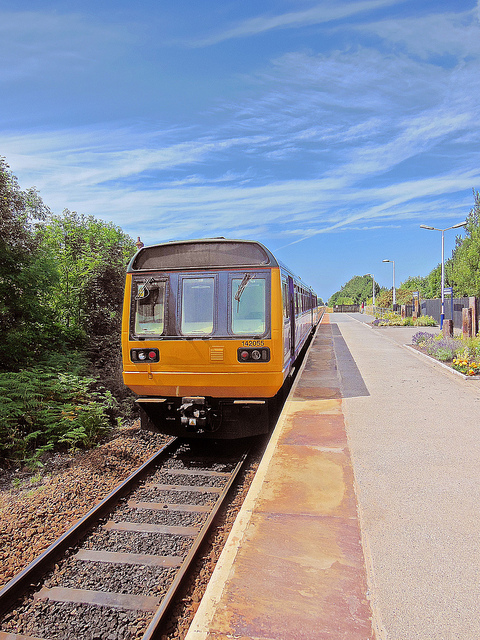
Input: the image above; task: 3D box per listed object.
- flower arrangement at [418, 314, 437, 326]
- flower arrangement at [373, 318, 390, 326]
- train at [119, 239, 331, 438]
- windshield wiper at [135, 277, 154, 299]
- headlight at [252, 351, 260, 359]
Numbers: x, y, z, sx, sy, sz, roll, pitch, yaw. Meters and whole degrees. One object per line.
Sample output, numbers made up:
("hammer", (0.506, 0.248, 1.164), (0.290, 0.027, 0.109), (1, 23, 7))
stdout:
("flower arrangement", (13.180, 0.017, 32.781), (1.004, 0.627, 1.010), (1, 7, 7))
("flower arrangement", (10.535, 0.177, 36.076), (0.721, 0.362, 0.991), (-8, 3, -35))
("train", (-0.555, 0.309, 6.710), (2.252, 2.902, 0.729), (3, 6, 23))
("windshield wiper", (-1.371, -0.475, 6.760), (0.035, 0.309, 0.036), (40, -5, -20))
("headlight", (0.214, 0.480, 6.367), (0.103, 0.109, 0.034), (-1, -4, 7))
